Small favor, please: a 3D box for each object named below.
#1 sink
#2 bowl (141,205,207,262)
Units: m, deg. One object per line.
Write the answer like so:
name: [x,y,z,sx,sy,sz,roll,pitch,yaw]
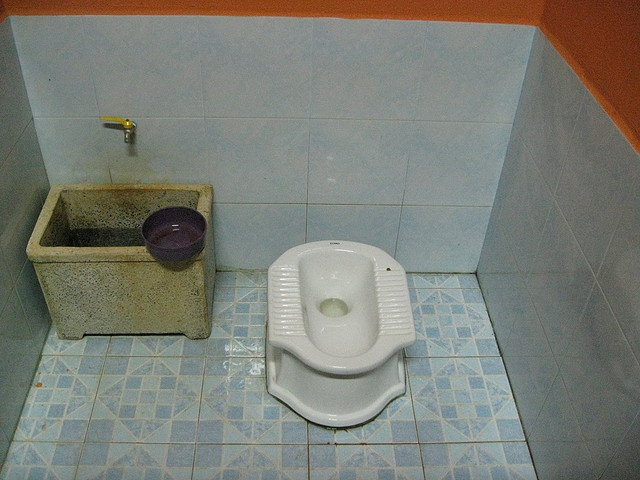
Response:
sink: [-0.912,0.099,2.622,0.731,0.540,0.538,-2,40,-11]
bowl: [-0.639,-0.013,2.376,0.282,0.160,0.324,-5,39,-12]
